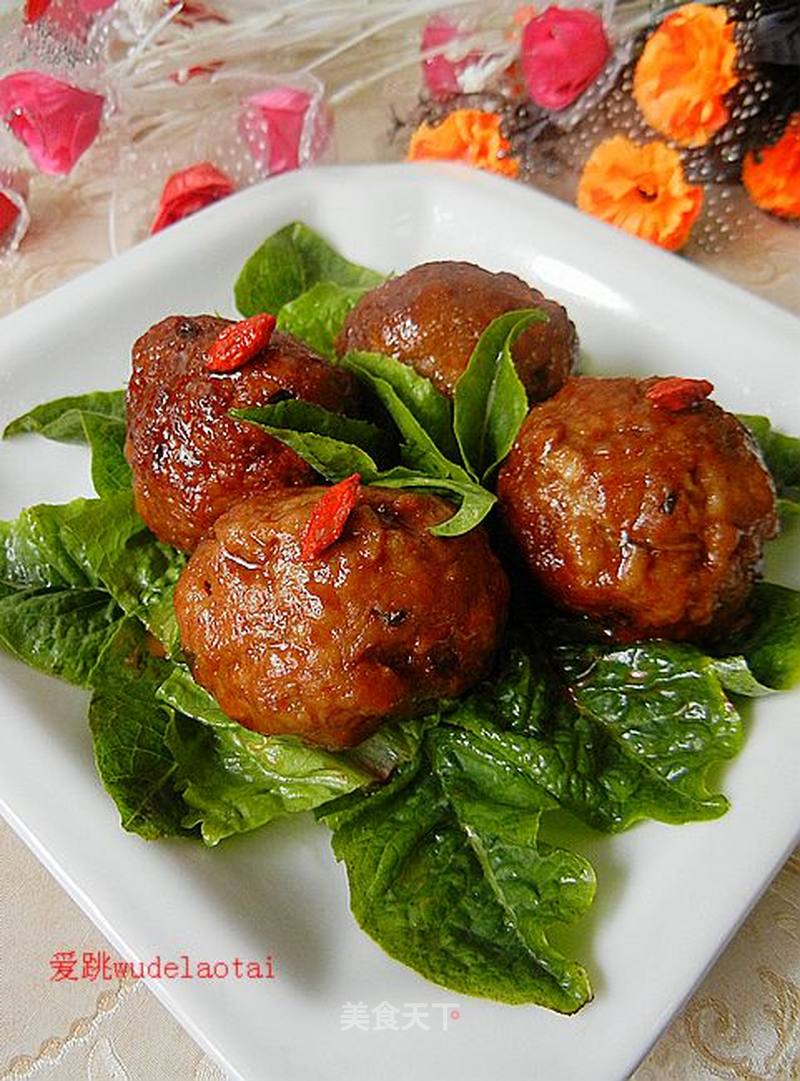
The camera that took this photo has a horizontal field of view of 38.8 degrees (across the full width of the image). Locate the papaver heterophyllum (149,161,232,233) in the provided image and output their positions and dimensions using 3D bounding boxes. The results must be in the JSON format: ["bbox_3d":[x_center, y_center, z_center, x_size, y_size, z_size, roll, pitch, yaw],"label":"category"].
[{"bbox_3d":[-0.510,-0.867,2.803,0.143,0.137,0.046,9,75,1],"label":"papaver heterophyllum"}]

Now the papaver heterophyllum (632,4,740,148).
[{"bbox_3d":[0.684,-1.100,2.708,0.218,0.253,0.232,-9,61,2],"label":"papaver heterophyllum"}]

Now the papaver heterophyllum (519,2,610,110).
[{"bbox_3d":[0.416,-1.220,2.856,0.271,0.081,0.229,10,105,26],"label":"papaver heterophyllum"}]

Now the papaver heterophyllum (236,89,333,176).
[{"bbox_3d":[-0.300,-1.065,2.952,0.351,0.226,0.117,9,18,42],"label":"papaver heterophyllum"}]
